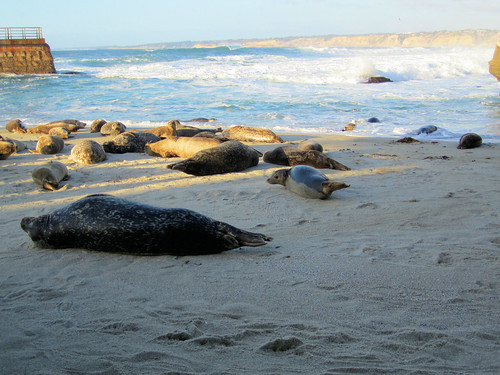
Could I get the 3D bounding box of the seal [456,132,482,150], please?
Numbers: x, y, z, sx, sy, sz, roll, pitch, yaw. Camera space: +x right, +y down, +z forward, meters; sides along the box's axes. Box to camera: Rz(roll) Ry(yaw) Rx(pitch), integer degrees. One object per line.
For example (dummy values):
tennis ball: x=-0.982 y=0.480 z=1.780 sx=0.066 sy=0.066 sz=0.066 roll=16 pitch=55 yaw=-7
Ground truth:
seal: x=4.603 y=-0.997 z=10.710 sx=0.533 sy=0.266 sz=0.506 roll=3 pitch=9 yaw=13

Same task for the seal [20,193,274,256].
seal: x=-1.196 y=0.409 z=5.310 sx=2.545 sy=0.548 sz=0.404 roll=2 pitch=20 yaw=13
